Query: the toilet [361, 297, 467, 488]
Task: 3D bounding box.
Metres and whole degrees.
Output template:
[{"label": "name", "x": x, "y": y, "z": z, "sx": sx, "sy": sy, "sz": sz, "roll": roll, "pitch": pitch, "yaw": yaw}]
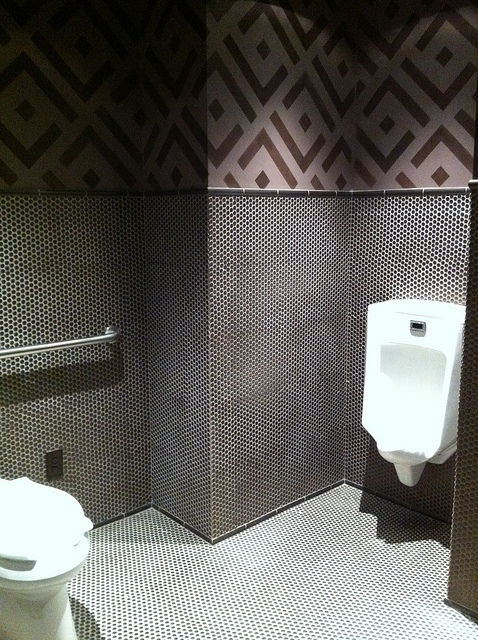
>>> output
[{"label": "toilet", "x": 0.603, "y": 0.295, "z": 1.847, "sx": 0.324, "sy": 0.667, "sz": 0.297, "roll": 4, "pitch": 5, "yaw": 12}]
